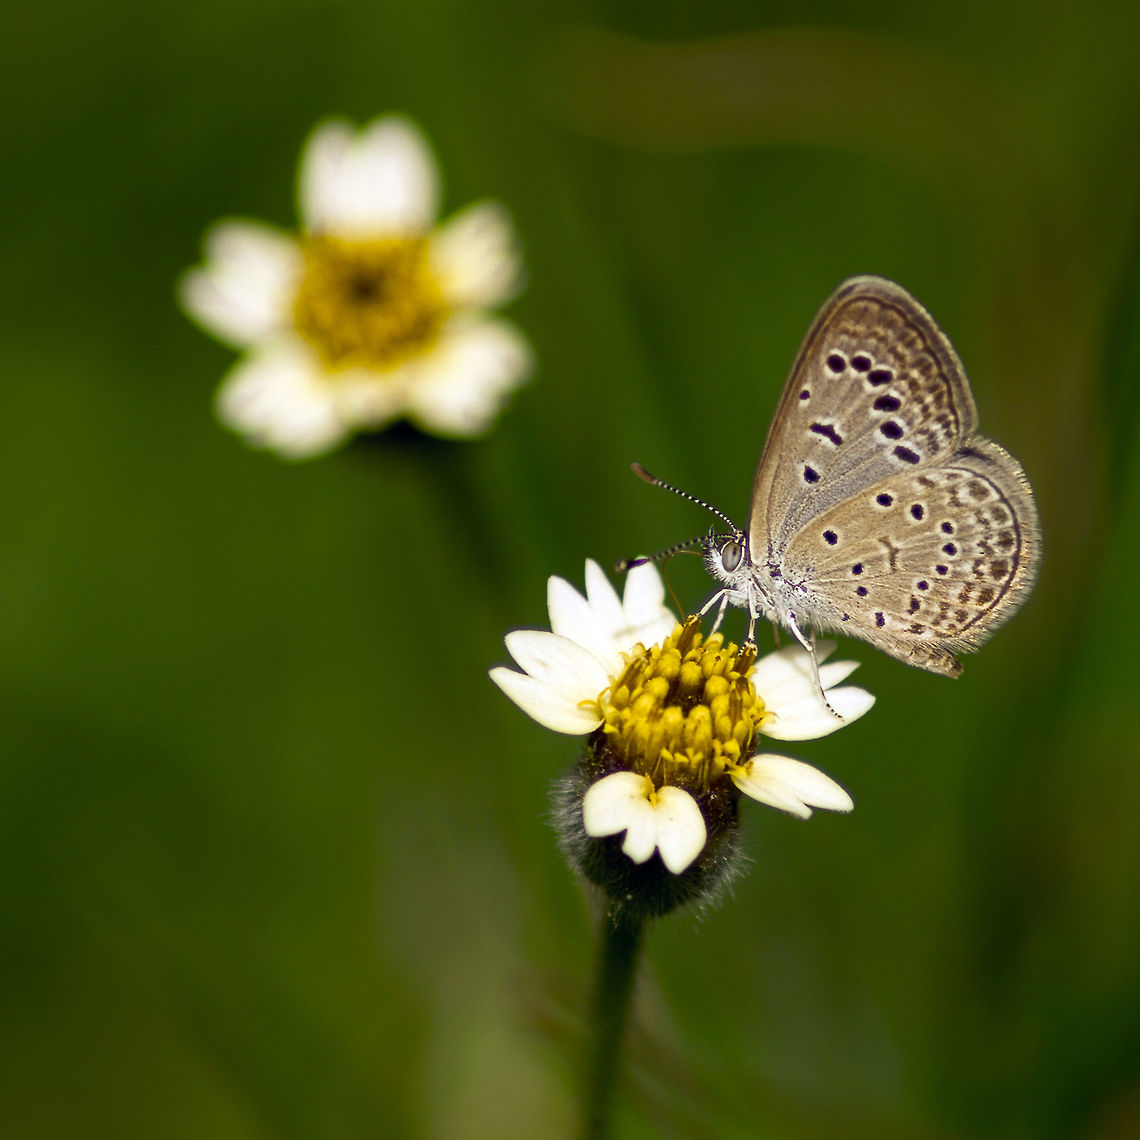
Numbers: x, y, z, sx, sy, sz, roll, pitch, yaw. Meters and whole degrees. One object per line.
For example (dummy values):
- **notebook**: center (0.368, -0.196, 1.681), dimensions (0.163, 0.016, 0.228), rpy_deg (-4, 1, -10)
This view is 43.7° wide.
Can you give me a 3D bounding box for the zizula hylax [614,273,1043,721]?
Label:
- **zizula hylax**: center (0.850, -0.186, 4.703), dimensions (1.011, 1.237, 1.243), rpy_deg (5, 93, -2)
